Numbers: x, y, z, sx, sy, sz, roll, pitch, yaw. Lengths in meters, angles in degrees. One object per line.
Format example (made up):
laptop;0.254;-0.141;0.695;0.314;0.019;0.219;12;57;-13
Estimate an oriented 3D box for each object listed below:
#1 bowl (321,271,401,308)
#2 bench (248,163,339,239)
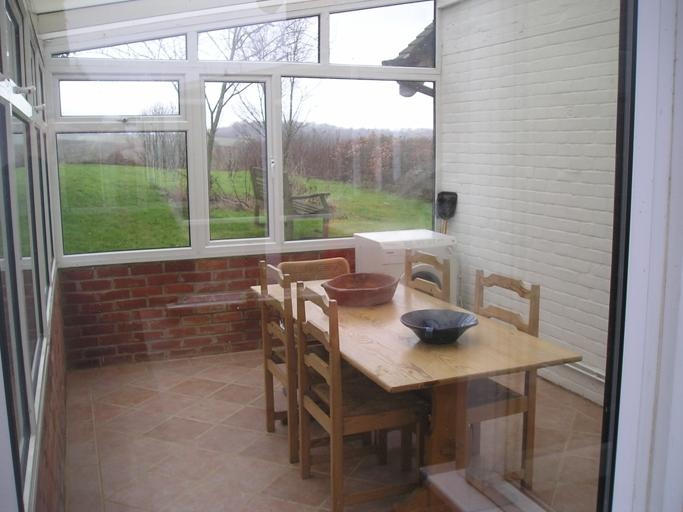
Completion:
bowl;0.049;0.089;1.408;0.126;0.036;0.123;-5;6;0
bench;-0.124;-0.141;1.339;0.167;0.215;0.182;-4;15;-19
